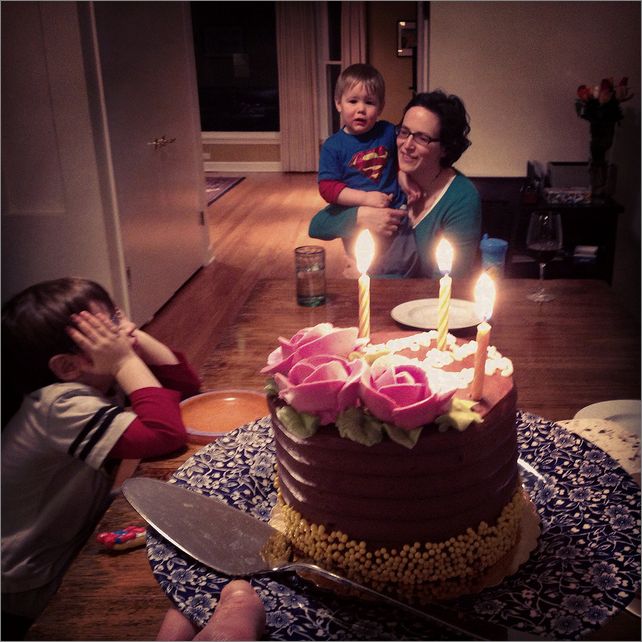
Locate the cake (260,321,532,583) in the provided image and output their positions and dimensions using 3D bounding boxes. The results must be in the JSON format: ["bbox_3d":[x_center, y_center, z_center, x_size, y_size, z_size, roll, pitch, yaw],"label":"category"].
[{"bbox_3d":[0.102,0.142,0.750,0.300,0.285,0.314,11,22,42],"label":"cake"}]

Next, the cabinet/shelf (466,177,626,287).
[{"bbox_3d":[1.196,-0.486,2.864,0.740,0.754,0.300,-1,20,2],"label":"cabinet/shelf"}]

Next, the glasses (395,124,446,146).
[{"bbox_3d":[0.362,-0.711,2.055,0.182,0.074,0.086,11,25,28],"label":"glasses"}]

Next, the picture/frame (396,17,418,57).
[{"bbox_3d":[1.315,-4.267,8.091,0.185,0.497,0.373,-14,25,-28],"label":"picture/frame"}]

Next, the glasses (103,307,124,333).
[{"bbox_3d":[-0.494,0.002,1.305,0.039,0.047,0.043,-1,8,-4],"label":"glasses"}]
